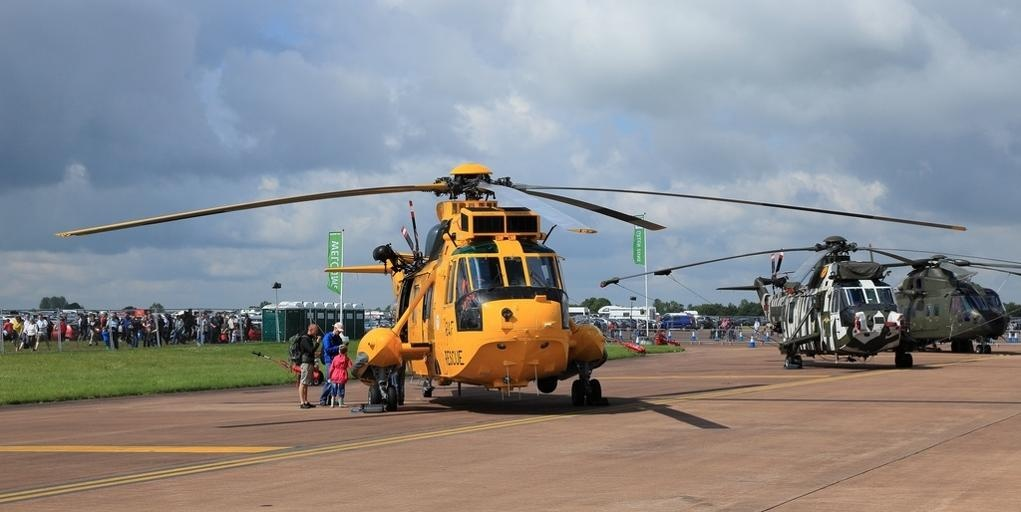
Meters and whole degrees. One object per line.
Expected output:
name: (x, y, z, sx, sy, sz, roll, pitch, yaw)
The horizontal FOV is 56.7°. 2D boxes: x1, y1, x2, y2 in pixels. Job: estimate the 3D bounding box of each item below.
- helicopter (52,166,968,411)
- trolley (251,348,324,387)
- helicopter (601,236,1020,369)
helicopter: (0.089, 1.566, 61.137, 69.329, 12.419, 15.088, -2, -1, -3)
trolley: (-9.686, 4.839, 41.064, 3.184, 0.812, 1.533, 12, -4, -23)
helicopter: (18.088, 2.908, 49.341, 14.917, 3.368, 13.572, 1, -5, -16)
